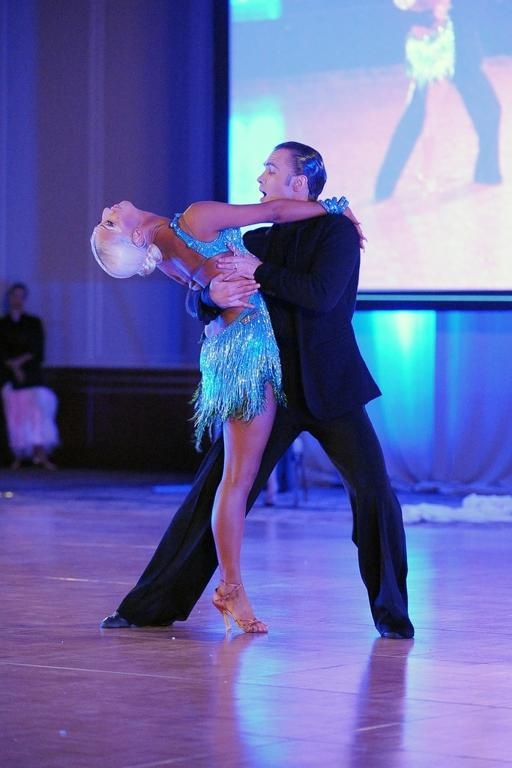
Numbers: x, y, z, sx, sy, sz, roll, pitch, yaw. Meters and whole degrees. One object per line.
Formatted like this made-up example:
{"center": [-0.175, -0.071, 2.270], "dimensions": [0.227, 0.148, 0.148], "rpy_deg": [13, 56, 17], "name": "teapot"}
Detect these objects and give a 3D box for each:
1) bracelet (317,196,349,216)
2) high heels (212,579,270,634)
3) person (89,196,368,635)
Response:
{"center": [0.198, -0.460, 2.647], "dimensions": [0.061, 0.020, 0.057], "rpy_deg": [-3, 40, -9], "name": "bracelet"}
{"center": [-0.043, 0.575, 2.596], "dimensions": [0.128, 0.132, 0.080], "rpy_deg": [-4, -7, 7], "name": "high heels"}
{"center": [-0.075, 0.062, 2.630], "dimensions": [0.729, 1.160, 0.352], "rpy_deg": [-4, -7, 7], "name": "person"}
